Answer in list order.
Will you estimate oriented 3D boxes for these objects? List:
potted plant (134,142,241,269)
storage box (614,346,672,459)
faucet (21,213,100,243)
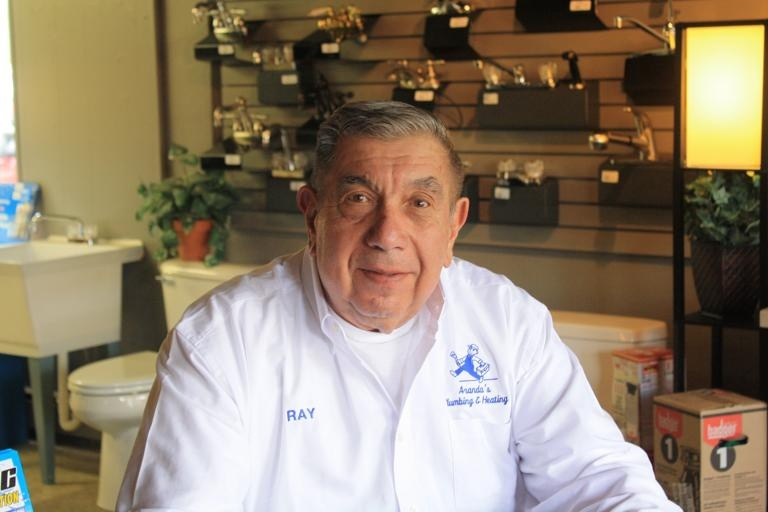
[{"bbox_3d":[-1.159,-0.303,4.657,0.650,0.764,0.750,-1,-6,-9],"label":"potted plant"},{"bbox_3d":[1.253,0.691,3.462,0.296,0.455,0.289,-7,6,-39],"label":"storage box"},{"bbox_3d":[-2.122,-0.172,4.708,0.451,0.178,0.108,1,0,-37],"label":"faucet"}]
